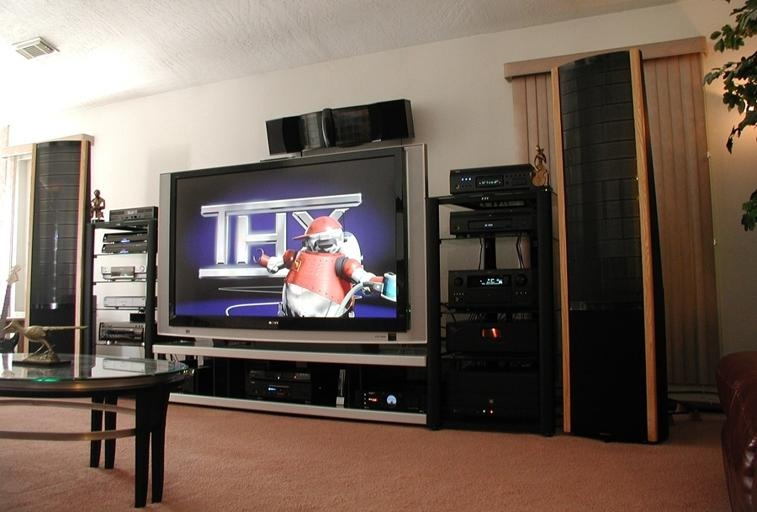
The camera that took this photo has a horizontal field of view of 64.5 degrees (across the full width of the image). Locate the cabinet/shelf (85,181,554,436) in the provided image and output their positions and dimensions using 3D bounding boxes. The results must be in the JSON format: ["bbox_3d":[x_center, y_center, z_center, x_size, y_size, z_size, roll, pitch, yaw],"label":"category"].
[{"bbox_3d":[-0.098,0.362,4.336,2.683,1.682,0.499,2,9,15],"label":"cabinet/shelf"}]

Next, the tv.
[{"bbox_3d":[-0.625,-0.006,4.516,1.727,1.040,0.181,0,-1,20],"label":"tv"}]

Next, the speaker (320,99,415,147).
[{"bbox_3d":[-0.088,-1.102,5.000,0.757,0.363,0.150,2,9,14],"label":"speaker"}]
